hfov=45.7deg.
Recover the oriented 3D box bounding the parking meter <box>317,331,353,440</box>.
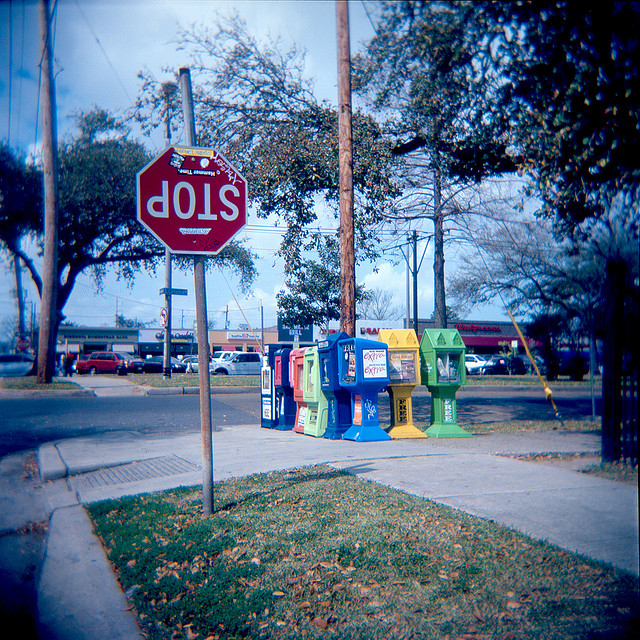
[{"bbox_3d":[0.222,0.987,11.360,0.556,1.585,0.538,-3,-2,18],"label":"parking meter"}]

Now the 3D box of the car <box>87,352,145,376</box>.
[{"bbox_3d":[-10.420,2.197,38.281,1.665,1.158,1.251,-2,-1,5],"label":"car"}]

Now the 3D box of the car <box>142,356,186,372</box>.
[{"bbox_3d":[-8.458,2.491,41.732,2.424,1.183,1.220,-6,-4,22],"label":"car"}]

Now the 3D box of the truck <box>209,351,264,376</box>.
[{"bbox_3d":[-3.952,2.147,36.304,1.576,0.891,1.014,4,-6,-16],"label":"truck"}]

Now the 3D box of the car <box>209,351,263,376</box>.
[{"bbox_3d":[-4.011,2.173,36.736,1.493,0.840,1.007,4,-7,-15],"label":"car"}]

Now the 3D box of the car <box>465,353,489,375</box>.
[{"bbox_3d":[8.914,2.543,42.839,1.635,1.206,1.156,-5,-1,19],"label":"car"}]

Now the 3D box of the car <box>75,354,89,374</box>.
[{"bbox_3d":[-12.512,2.290,39.982,0.591,1.177,5.369,-1,-5,-18],"label":"car"}]

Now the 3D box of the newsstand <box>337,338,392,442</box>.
[{"bbox_3d":[0.611,1.016,10.962,0.766,1.506,0.536,-3,-2,15],"label":"newsstand"}]
